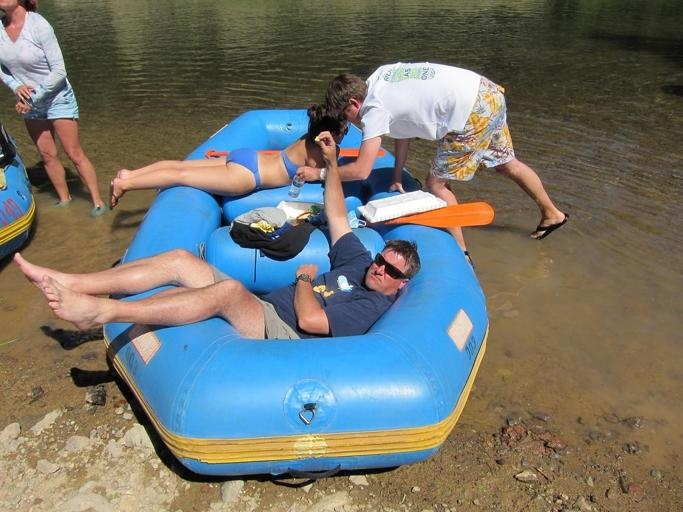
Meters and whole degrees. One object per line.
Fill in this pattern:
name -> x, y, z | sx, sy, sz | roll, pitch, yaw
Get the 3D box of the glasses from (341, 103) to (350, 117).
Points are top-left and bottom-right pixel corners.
glasses -> 0.052, -1.306, 5.307 | 0.075, 0.093, 0.031 | 23, 21, 30

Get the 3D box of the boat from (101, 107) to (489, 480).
boat -> -0.337, -0.048, 5.180 | 3.008, 1.042, 3.264 | 5, 54, -8

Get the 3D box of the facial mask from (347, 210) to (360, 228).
facial mask -> 0.125, -0.353, 5.640 | 0.148, 0.140, 0.042 | 17, 37, 41

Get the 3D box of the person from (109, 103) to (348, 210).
person -> -1.070, -1.003, 5.880 | 2.436, 0.842, 0.561 | -7, 28, -9

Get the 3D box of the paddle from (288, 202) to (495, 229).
paddle -> 0.592, -0.366, 5.577 | 1.646, 0.058, 0.332 | 0, 51, 3
